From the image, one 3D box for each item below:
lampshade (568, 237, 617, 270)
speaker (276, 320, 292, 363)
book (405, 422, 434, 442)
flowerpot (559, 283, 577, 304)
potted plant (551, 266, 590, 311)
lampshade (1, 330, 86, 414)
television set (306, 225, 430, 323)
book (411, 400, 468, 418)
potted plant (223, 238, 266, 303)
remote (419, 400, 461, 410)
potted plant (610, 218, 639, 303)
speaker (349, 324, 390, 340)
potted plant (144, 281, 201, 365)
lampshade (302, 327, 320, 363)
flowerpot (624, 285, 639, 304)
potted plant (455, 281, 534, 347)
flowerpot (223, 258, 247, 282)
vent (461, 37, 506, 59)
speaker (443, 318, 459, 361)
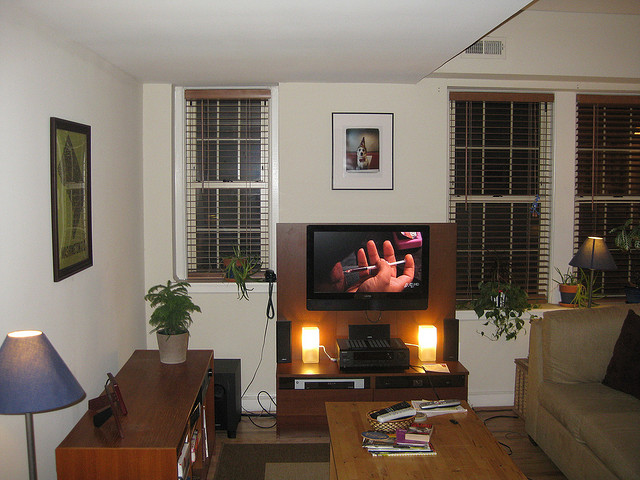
[{"bbox_3d":[2.297,0.119,4.805,0.351,0.267,0.149,0,4,23],"label":"lampshade"},{"bbox_3d":[-0.303,0.860,4.826,0.128,0.349,0.065,-3,4,-16],"label":"speaker"},{"bbox_3d":[0.666,1.270,3.797,0.156,0.057,0.257,0,4,19],"label":"book"},{"bbox_3d":[2.249,0.497,5.202,0.154,0.181,0.159,1,-2,1],"label":"flowerpot"},{"bbox_3d":[2.294,0.430,5.268,0.214,0.364,0.304,5,-5,-22],"label":"potted plant"},{"bbox_3d":[-1.480,0.699,3.052,0.400,0.385,0.150,-3,4,-25],"label":"lampshade"},{"bbox_3d":[0.415,0.296,4.899,1.043,0.881,0.102,-2,13,-1],"label":"television set"},{"bbox_3d":[0.859,1.201,4.098,0.391,0.061,0.228,-1,4,13],"label":"book"},{"bbox_3d":[-0.681,0.281,5.098,0.436,0.526,0.506,0,6,-4],"label":"potted plant"},{"bbox_3d":[0.849,1.179,4.112,0.177,0.025,0.105,-1,-3,-4],"label":"remote"},{"bbox_3d":[2.817,0.188,5.279,0.236,0.754,0.486,1,4,27],"label":"potted plant"},{"bbox_3d":[0.433,0.788,4.896,0.249,0.137,0.051,3,-11,-6],"label":"speaker"},{"bbox_3d":[-1.129,0.633,4.397,0.334,0.609,0.281,1,4,28],"label":"potted plant"},{"bbox_3d":[-0.073,0.893,4.874,0.180,0.276,0.182,-1,-6,-23],"label":"lampshade"},{"bbox_3d":[2.835,0.500,5.200,0.087,0.141,0.154,-1,4,6],"label":"flowerpot"},{"bbox_3d":[1.619,0.613,5.146,0.585,0.249,0.603,0,4,3],"label":"potted plant"},{"bbox_3d":[-0.750,0.267,5.072,0.174,0.257,0.207,1,5,-1],"label":"flowerpot"},{"bbox_3d":[1.412,-1.642,4.934,0.401,0.185,0.041,-2,4,-7],"label":"vent"},{"bbox_3d":[1.132,0.860,4.944,0.134,0.348,0.128,-1,4,9],"label":"speaker"}]
